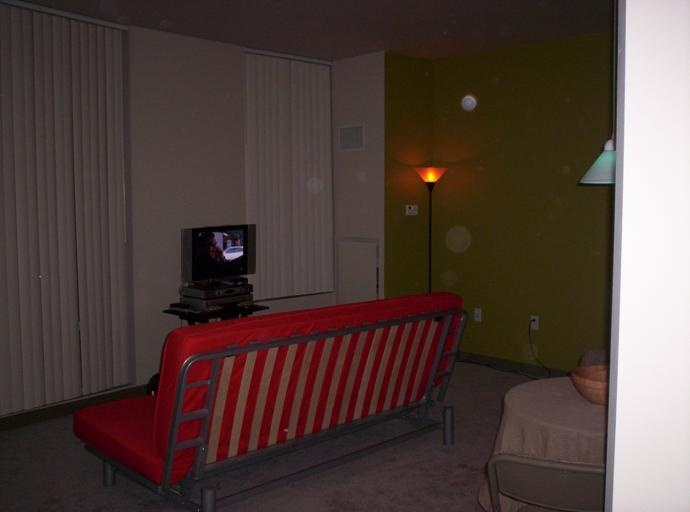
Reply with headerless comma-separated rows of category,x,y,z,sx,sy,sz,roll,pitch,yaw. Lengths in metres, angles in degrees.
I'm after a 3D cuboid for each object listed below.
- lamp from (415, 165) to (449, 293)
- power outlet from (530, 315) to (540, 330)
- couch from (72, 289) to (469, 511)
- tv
lamp,0.905,-0.267,6.254,0.226,1.336,0.301,5,9,38
power outlet,1.810,0.645,5.663,0.017,0.173,0.118,-3,8,-32
couch,-0.311,0.755,3.429,2.057,0.982,0.743,-5,8,-34
tv,-1.062,-0.007,4.886,0.671,0.459,0.123,-7,9,-43
